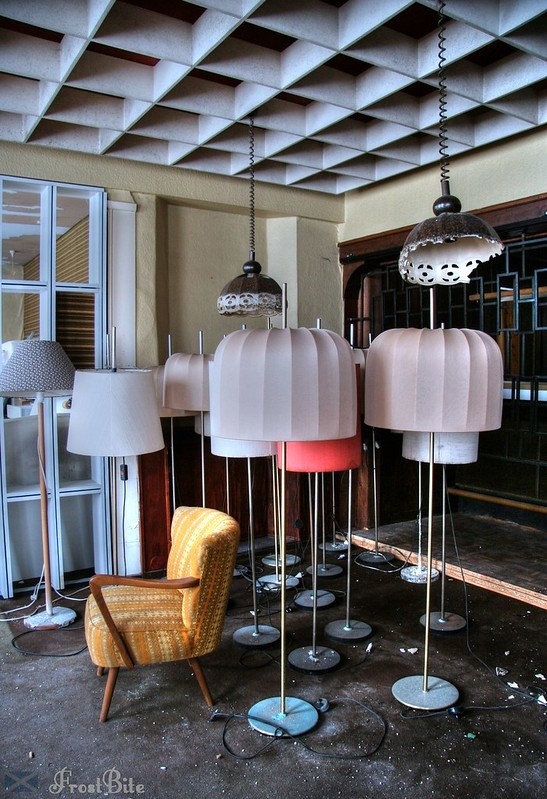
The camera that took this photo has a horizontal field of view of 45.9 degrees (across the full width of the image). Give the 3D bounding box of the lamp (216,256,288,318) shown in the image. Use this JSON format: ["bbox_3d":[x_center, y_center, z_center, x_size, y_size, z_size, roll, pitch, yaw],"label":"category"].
[{"bbox_3d":[-0.120,-0.580,3.596,0.348,0.361,0.343,2,2,38],"label":"lamp"}]

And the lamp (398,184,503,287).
[{"bbox_3d":[0.699,-0.760,2.623,0.341,0.411,0.337,1,-12,0],"label":"lamp"}]

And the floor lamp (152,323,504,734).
[{"bbox_3d":[0.214,0.672,3.144,1.763,2.343,0.824,-2,4,-18],"label":"floor lamp"}]

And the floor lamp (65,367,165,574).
[{"bbox_3d":[-0.677,0.115,2.744,0.380,0.913,0.412,-1,4,-19],"label":"floor lamp"}]

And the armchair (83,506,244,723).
[{"bbox_3d":[-0.489,0.875,2.734,0.646,0.709,0.669,-2,8,-32],"label":"armchair"}]
